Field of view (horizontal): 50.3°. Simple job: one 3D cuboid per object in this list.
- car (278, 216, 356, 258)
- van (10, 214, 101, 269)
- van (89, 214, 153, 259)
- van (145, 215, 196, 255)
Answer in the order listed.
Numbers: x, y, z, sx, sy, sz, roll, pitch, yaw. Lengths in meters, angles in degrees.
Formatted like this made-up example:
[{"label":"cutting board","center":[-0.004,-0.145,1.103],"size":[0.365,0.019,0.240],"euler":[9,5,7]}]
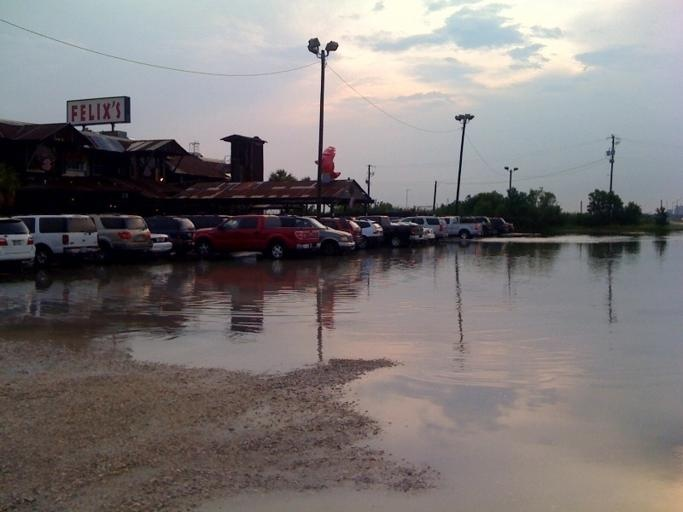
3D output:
[{"label":"car","center":[-1.095,-0.775,30.022],"size":[2.752,1.205,1.383],"euler":[-1,4,5]},{"label":"van","center":[-9.757,-0.604,24.715],"size":[2.505,1.377,1.375],"euler":[7,6,30]},{"label":"van","center":[-7.857,-0.684,26.257],"size":[2.187,1.127,1.118],"euler":[8,7,32]},{"label":"van","center":[-6.867,-0.917,29.700],"size":[2.070,1.211,1.122],"euler":[9,8,28]}]
